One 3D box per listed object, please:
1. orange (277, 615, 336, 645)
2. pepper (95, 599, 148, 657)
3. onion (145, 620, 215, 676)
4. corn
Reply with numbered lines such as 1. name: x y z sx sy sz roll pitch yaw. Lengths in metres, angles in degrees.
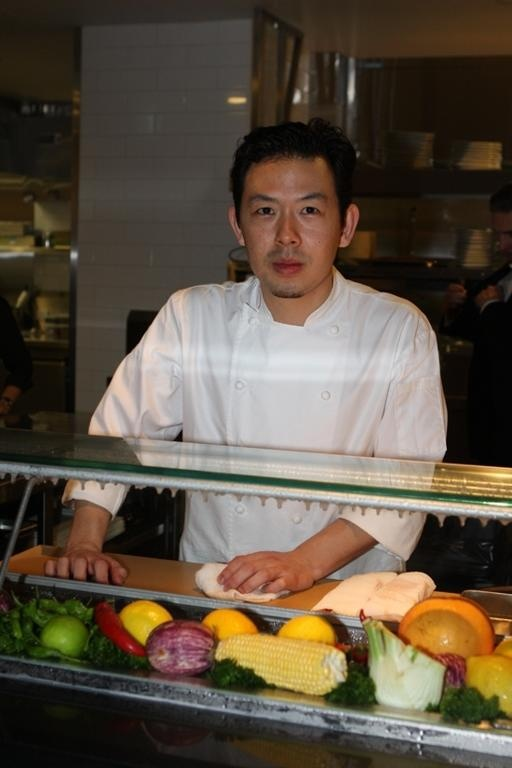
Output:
1. orange: 0.054 0.265 0.696 0.043 0.031 0.031 5 -34 -35
2. pepper: -0.151 0.267 0.702 0.056 0.035 0.057 -5 11 -32
3. onion: -0.078 0.274 0.668 0.071 0.041 0.046 1 6 -5
4. corn: 0.025 0.275 0.649 0.139 0.041 0.047 3 6 20
